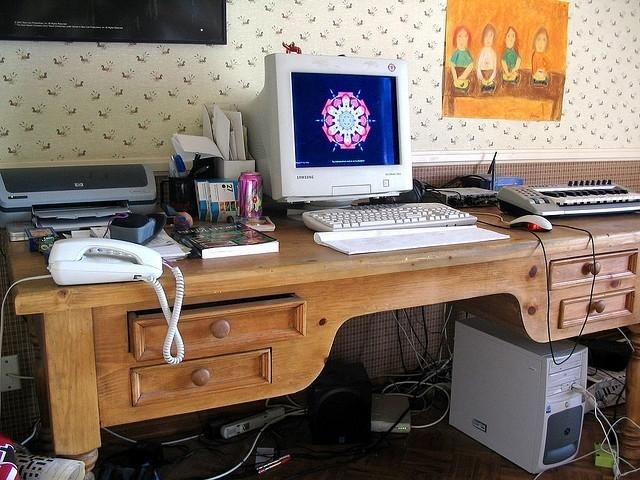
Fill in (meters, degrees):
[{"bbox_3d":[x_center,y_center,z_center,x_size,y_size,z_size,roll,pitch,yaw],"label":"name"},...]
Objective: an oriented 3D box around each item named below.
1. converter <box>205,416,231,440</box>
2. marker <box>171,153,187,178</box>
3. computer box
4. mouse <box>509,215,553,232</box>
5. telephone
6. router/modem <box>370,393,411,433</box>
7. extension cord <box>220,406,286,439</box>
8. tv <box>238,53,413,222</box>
[{"bbox_3d":[-0.417,0.750,1.991,0.100,0.082,0.054,-2,11,-30],"label":"converter"},{"bbox_3d":[-0.484,-0.261,1.681,0.040,0.073,0.034,-4,19,4],"label":"marker"},{"bbox_3d":[0.742,0.561,2.025,0.548,0.576,0.476,0,12,-20],"label":"computer box"},{"bbox_3d":[0.678,-0.059,1.559,0.060,0.035,0.101,-4,11,-36],"label":"mouse"},{"bbox_3d":[-0.492,0.010,1.138,0.247,0.094,0.276,11,14,41],"label":"telephone"},{"bbox_3d":[0.298,0.727,2.058,0.226,0.111,0.197,3,11,-9],"label":"router/modem"},{"bbox_3d":[-0.282,0.755,2.020,0.323,0.064,0.052,-4,15,-43],"label":"extension cord"},{"bbox_3d":[0.032,-0.363,1.877,0.722,0.641,0.490,-6,13,-26],"label":"tv"}]
